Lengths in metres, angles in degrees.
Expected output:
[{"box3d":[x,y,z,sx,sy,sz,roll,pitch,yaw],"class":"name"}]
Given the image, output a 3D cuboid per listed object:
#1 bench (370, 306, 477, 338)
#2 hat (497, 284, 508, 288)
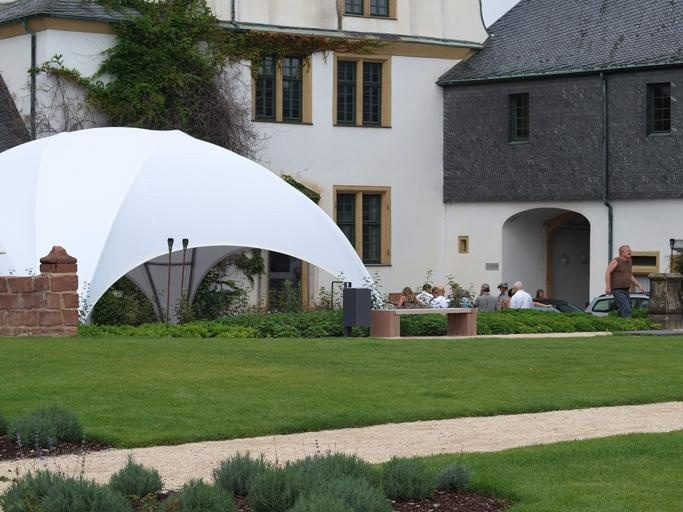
[{"box3d":[1.950,1.534,40.834,2.518,0.670,2.006,0,-2,-18],"class":"bench"},{"box3d":[4.176,0.770,45.650,0.173,0.097,0.223,-1,2,-36],"class":"hat"}]
